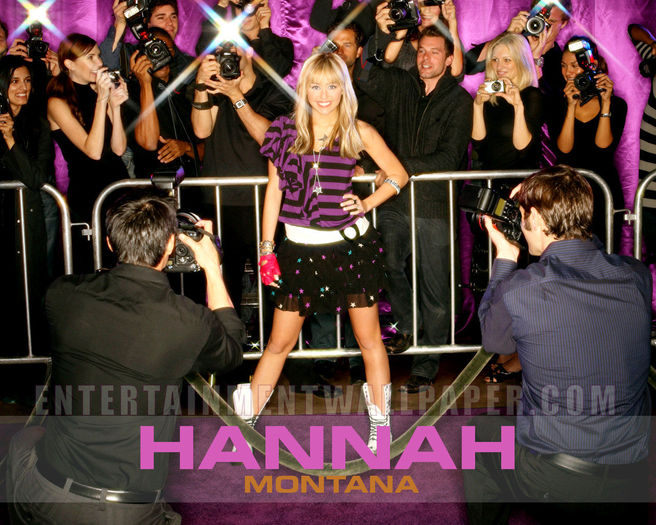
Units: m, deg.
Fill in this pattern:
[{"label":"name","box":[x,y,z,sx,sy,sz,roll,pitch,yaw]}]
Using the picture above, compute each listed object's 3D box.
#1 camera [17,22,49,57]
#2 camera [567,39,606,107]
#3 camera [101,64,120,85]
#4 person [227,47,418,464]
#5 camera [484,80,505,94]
[{"label":"camera","box":[-2.497,-1.935,5.532,0.146,0.146,0.245,1,-28,-13]},{"label":"camera","box":[2.186,-1.637,5.462,0.220,0.476,0.157,-15,4,-36]},{"label":"camera","box":[-1.683,-1.442,5.019,0.106,0.141,0.173,-5,13,-18]},{"label":"person","box":[-0.027,-0.050,3.573,0.874,2.151,0.420,1,11,9]},{"label":"camera","box":[1.288,-1.339,4.935,0.153,0.099,0.109,3,13,17]}]
